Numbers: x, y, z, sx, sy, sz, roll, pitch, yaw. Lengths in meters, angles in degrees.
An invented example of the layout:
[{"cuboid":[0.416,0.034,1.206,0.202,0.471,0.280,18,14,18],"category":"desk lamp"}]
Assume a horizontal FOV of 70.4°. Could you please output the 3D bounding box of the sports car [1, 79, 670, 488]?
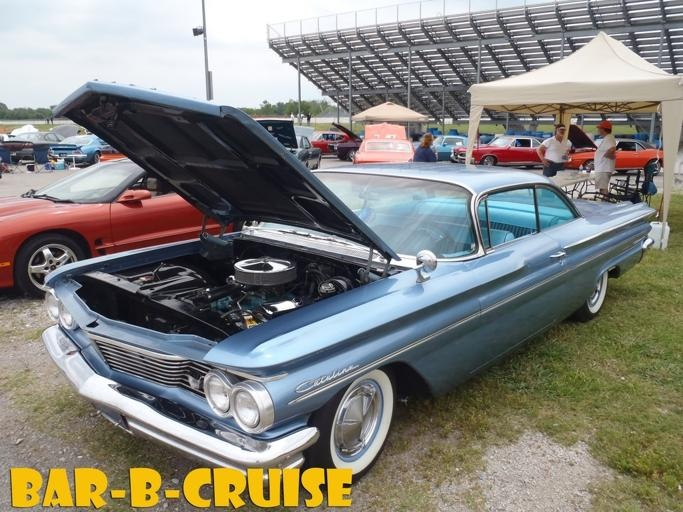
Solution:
[{"cuboid":[-0.015,-0.030,3.574,3.636,2.364,2.047,-16,22,-36],"category":"sports car"}]
